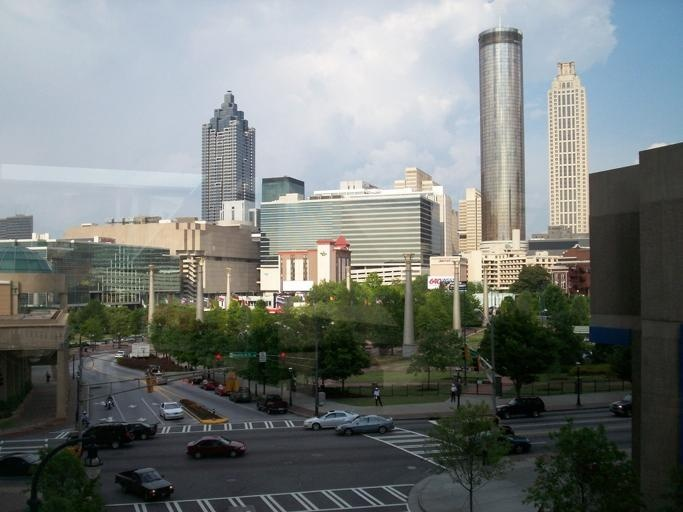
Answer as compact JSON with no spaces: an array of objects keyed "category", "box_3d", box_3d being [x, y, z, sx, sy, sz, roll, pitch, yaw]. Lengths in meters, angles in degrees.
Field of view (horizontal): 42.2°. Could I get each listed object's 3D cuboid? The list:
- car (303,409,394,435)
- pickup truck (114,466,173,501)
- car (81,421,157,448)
[{"category":"car","box_3d":[0.568,13.923,74.017,6.996,1.600,2.570,-3,-3,22]},{"category":"pickup truck","box_3d":[-13.215,15.241,59.305,3.358,1.272,1.748,1,-2,41]},{"category":"car","box_3d":[-17.827,14.178,70.382,2.417,1.862,7.410,-3,-3,24]}]
